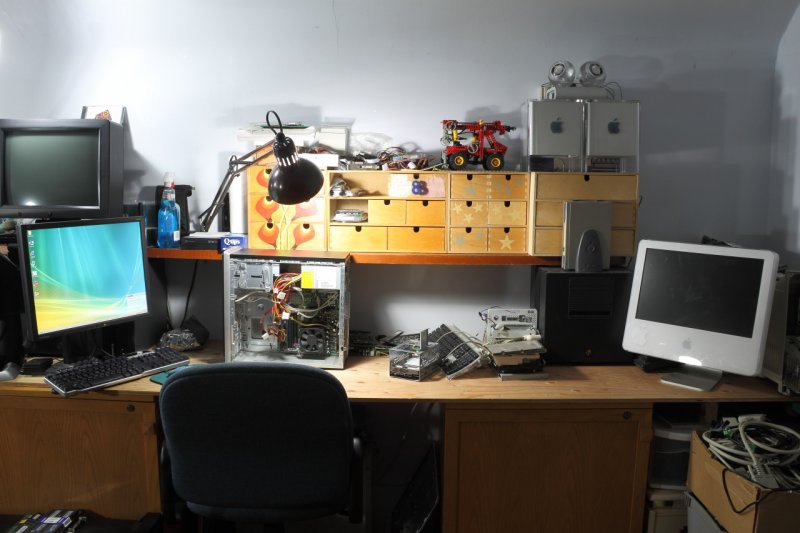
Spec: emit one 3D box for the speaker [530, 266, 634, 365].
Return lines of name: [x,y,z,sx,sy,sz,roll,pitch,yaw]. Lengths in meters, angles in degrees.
speaker: [0.934,0.224,3.736,0.647,0.587,0.457,0,4,1]

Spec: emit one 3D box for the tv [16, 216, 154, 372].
tv: [-1.607,0.145,3.368,0.761,0.823,0.279,-6,4,-39]

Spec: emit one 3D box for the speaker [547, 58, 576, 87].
speaker: [0.898,-1.029,3.576,0.199,0.137,0.102,-7,9,-38]

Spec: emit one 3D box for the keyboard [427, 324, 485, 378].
keyboard: [0.288,0.445,3.560,0.237,0.100,0.365,-23,32,-17]

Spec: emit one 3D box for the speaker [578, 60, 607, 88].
speaker: [1.018,-1.010,3.582,0.136,0.131,0.124,21,6,10]

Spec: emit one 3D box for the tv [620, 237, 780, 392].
tv: [1.511,0.266,3.334,0.712,0.738,0.274,3,10,31]

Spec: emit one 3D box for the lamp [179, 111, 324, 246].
lamp: [-0.744,-0.502,3.514,0.374,0.624,0.727,-7,9,-36]

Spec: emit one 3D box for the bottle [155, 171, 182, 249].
bottle: [-1.285,-0.302,3.687,0.131,0.394,0.156,-4,7,-18]

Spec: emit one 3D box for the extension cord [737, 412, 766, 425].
extension cord: [1.688,0.737,3.188,0.115,0.040,0.188,2,8,29]

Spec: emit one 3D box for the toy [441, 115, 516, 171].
toy: [0.381,-0.664,3.630,0.449,0.282,0.226,-1,11,-3]
